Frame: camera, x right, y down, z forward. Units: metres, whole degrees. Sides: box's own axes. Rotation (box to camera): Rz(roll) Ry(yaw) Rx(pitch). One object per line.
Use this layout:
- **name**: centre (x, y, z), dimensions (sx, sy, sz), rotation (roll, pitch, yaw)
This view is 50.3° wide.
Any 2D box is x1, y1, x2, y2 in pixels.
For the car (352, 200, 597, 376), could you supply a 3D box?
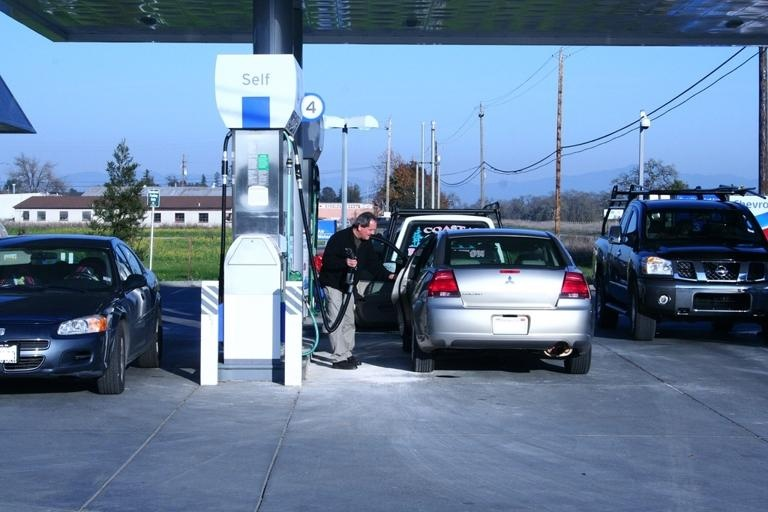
- **car**: centre (1.475, 0.616, 12.707), dimensions (2.644, 2.150, 3.584), rotation (0, 5, -2)

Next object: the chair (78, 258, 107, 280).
- **chair**: centre (-4.082, 0.164, 11.522), dimensions (0.299, 0.365, 0.158), rotation (2, 1, -3)
